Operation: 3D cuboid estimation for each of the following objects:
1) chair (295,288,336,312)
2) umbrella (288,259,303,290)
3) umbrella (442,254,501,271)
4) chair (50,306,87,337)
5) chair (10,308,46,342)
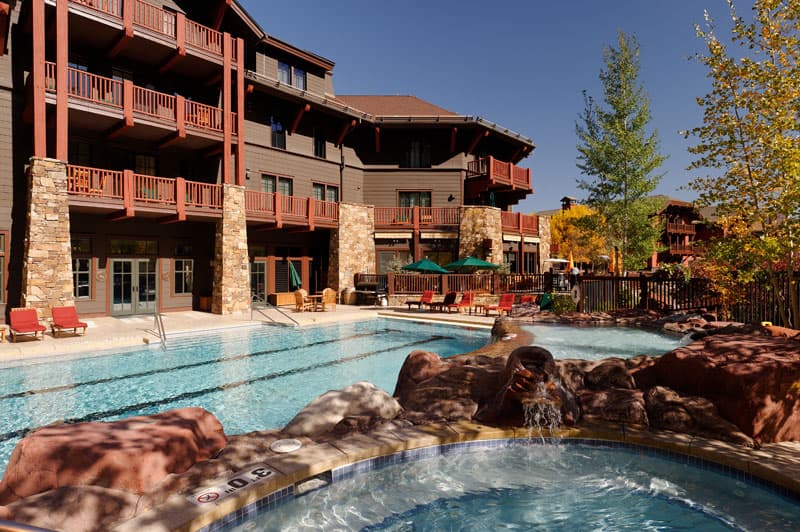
[{"bbox_3d":[-4.186,1.656,24.420,1.598,0.918,1.234,3,-5,-28],"label":"chair"},{"bbox_3d":[-5.851,0.496,28.370,0.698,1.594,1.068,3,11,4],"label":"umbrella"},{"bbox_3d":[3.903,0.001,27.477,2.453,1.202,2.747,5,11,17],"label":"umbrella"},{"bbox_3d":[-11.184,1.916,17.078,1.424,0.986,1.019,11,9,43],"label":"chair"},{"bbox_3d":[-12.124,1.935,16.307,1.455,0.984,0.976,13,12,42],"label":"chair"}]
